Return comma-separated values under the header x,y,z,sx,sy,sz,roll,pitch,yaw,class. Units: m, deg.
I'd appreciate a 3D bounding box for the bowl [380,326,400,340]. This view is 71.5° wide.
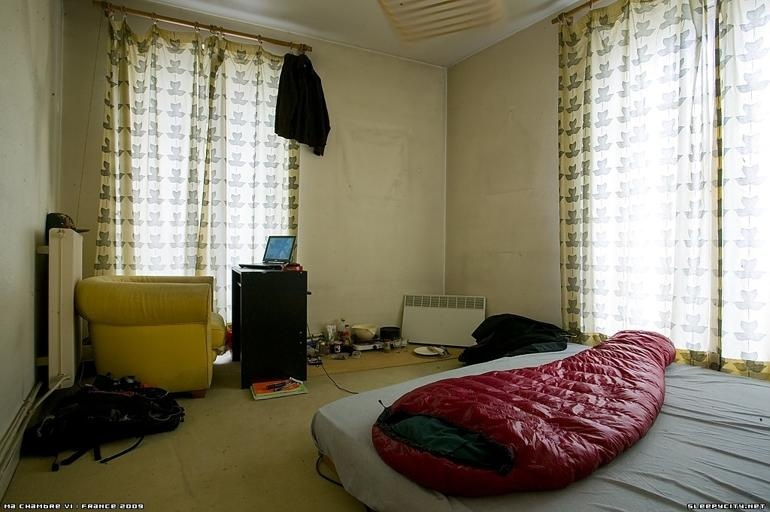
x,y,z,sx,sy,sz,roll,pitch,yaw,class
0.037,0.794,5.564,0.129,0.081,0.132,0,0,0,bowl

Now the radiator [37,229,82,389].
x,y,z,sx,sy,sz,roll,pitch,yaw,class
-2.335,0.364,3.843,0.111,0.857,1.139,-1,-2,-23,radiator

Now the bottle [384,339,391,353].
x,y,z,sx,sy,sz,roll,pitch,yaw,class
0.029,0.885,5.307,0.088,0.129,0.092,0,-4,0,bottle

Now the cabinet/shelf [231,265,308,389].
x,y,z,sx,sy,sz,roll,pitch,yaw,class
-0.933,0.329,4.273,0.585,0.591,0.358,1,1,7,cabinet/shelf

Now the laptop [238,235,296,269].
x,y,z,sx,sy,sz,roll,pitch,yaw,class
-1.063,-0.048,4.854,0.346,0.249,0.413,-3,-2,30,laptop

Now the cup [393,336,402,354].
x,y,z,sx,sy,sz,roll,pitch,yaw,class
0.130,0.884,5.398,0.086,0.116,0.091,1,0,0,cup

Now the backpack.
x,y,z,sx,sy,sz,roll,pitch,yaw,class
-1.862,1.073,3.560,0.575,0.230,0.585,-2,4,-7,backpack

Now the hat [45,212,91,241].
x,y,z,sx,sy,sz,roll,pitch,yaw,class
-2.456,-0.258,4.168,0.398,0.210,0.254,-8,14,-44,hat

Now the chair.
x,y,z,sx,sy,sz,roll,pitch,yaw,class
-1.932,0.626,4.546,1.186,0.962,1.272,1,2,-20,chair

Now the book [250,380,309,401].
x,y,z,sx,sy,sz,roll,pitch,yaw,class
-0.839,1.046,4.258,0.425,0.083,0.277,0,2,-20,book

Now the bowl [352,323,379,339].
x,y,z,sx,sy,sz,roll,pitch,yaw,class
-0.207,0.763,5.461,0.254,0.137,0.309,1,2,7,bowl

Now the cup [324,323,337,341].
x,y,z,sx,sy,sz,roll,pitch,yaw,class
-0.525,0.750,5.320,0.090,0.146,0.200,1,2,6,cup
